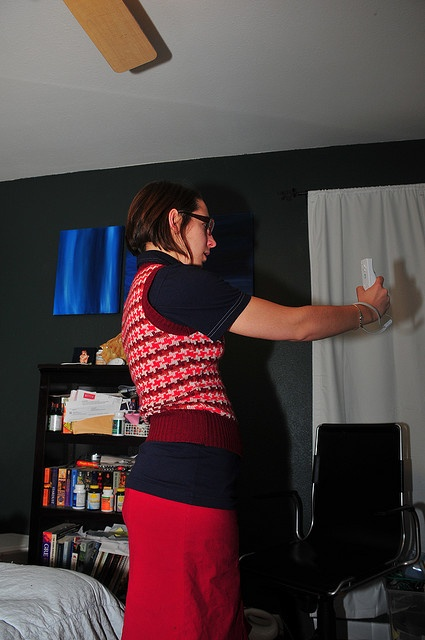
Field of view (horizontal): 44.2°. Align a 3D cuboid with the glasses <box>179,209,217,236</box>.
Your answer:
[{"bbox_3d":[-0.037,-0.248,1.306,0.064,0.018,0.062,11,-5,6],"label":"glasses"}]

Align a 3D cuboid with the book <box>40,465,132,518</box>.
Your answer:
[{"bbox_3d":[-0.655,0.851,2.671,0.465,0.225,0.083,-4,-11,19],"label":"book"}]
